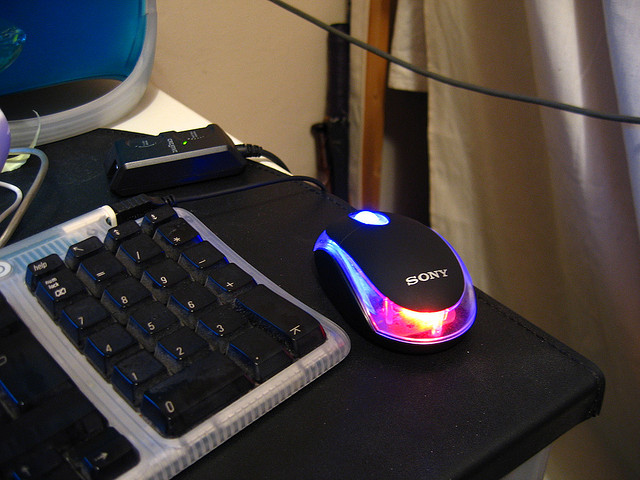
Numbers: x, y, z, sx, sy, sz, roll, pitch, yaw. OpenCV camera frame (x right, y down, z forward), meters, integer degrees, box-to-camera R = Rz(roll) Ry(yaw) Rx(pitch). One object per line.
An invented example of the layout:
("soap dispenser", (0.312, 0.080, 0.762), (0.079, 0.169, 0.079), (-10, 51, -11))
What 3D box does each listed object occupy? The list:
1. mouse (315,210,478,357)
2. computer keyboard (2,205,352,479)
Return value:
("mouse", (0.067, 0.024, 0.535), (0.129, 0.063, 0.189), (-11, 34, -24))
("computer keyboard", (-0.138, 0.061, 0.493), (0.267, 0.092, 0.256), (-26, 44, -12))
